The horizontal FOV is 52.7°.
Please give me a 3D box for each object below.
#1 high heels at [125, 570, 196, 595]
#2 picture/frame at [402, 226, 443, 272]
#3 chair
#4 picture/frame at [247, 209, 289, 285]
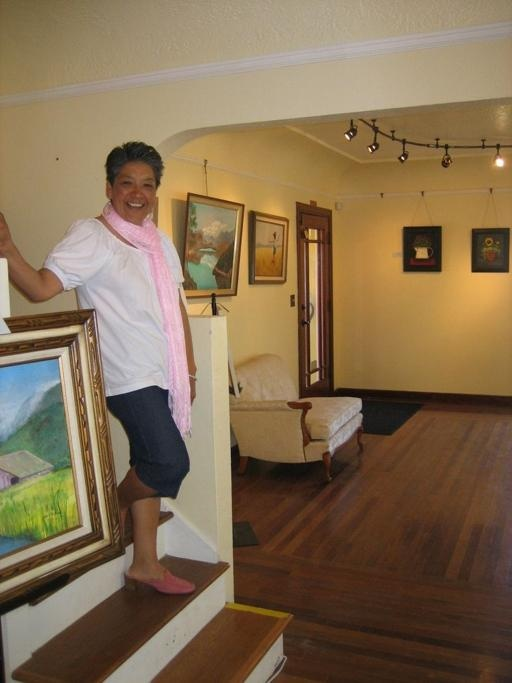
[{"bbox_3d":[-0.289,0.764,1.651,0.234,0.079,0.084,4,0,-3],"label":"high heels"},{"bbox_3d":[2.487,-1.392,7.615,0.721,0.840,0.086,2,8,22],"label":"picture/frame"},{"bbox_3d":[0.386,0.673,4.915,1.188,0.930,1.211,1,5,17],"label":"chair"},{"bbox_3d":[0.120,-1.065,5.761,0.070,0.850,0.953,2,7,29],"label":"picture/frame"}]
